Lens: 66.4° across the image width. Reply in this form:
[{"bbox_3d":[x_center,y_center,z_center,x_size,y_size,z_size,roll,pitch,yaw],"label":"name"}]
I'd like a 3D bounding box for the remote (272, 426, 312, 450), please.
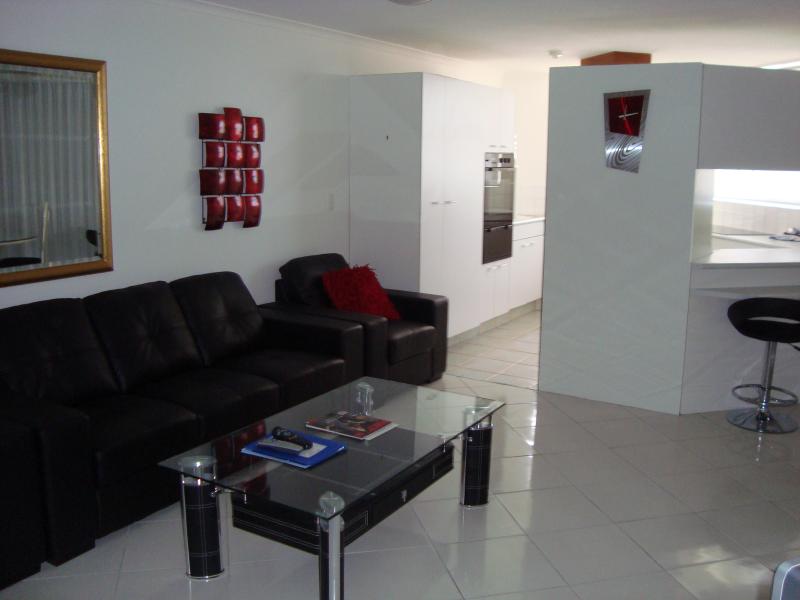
[{"bbox_3d":[-0.530,0.655,2.982,0.199,0.074,0.085,18,32,20],"label":"remote"}]

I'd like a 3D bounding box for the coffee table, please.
[{"bbox_3d":[-0.402,0.529,2.864,0.835,0.485,1.313,9,16,34],"label":"coffee table"}]

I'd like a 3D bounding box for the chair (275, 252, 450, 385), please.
[{"bbox_3d":[-0.309,0.151,5.216,1.219,1.105,1.158,11,18,34],"label":"chair"}]
